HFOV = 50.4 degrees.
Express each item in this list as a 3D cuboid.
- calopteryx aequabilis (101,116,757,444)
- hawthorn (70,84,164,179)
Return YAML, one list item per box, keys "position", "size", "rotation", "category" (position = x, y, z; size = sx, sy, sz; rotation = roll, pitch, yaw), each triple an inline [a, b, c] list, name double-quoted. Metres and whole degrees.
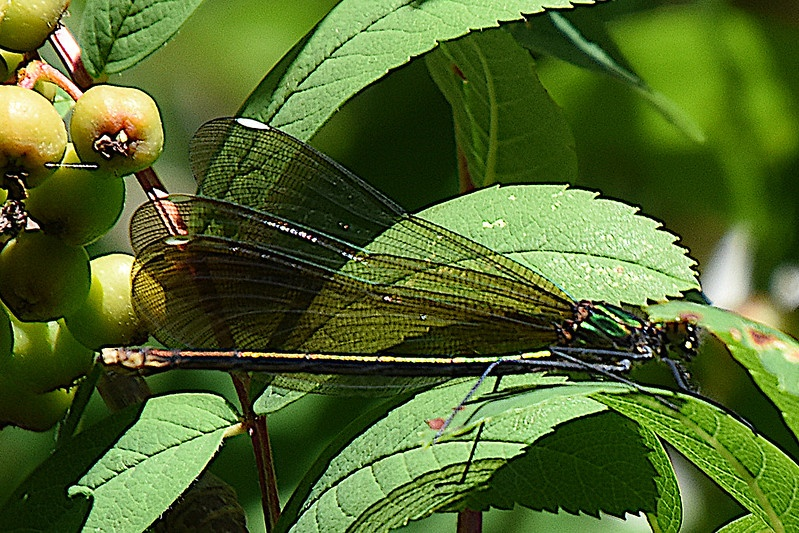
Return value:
- position: [0.022, 0.057, 2.297]
  size: [1.606, 0.642, 0.591]
  rotation: [1, 0, -8]
  category: "calopteryx aequabilis"
- position: [-0.541, -0.254, 1.619]
  size: [0.186, 0.159, 0.205]
  rotation: [-6, 13, -21]
  category: "hawthorn"
